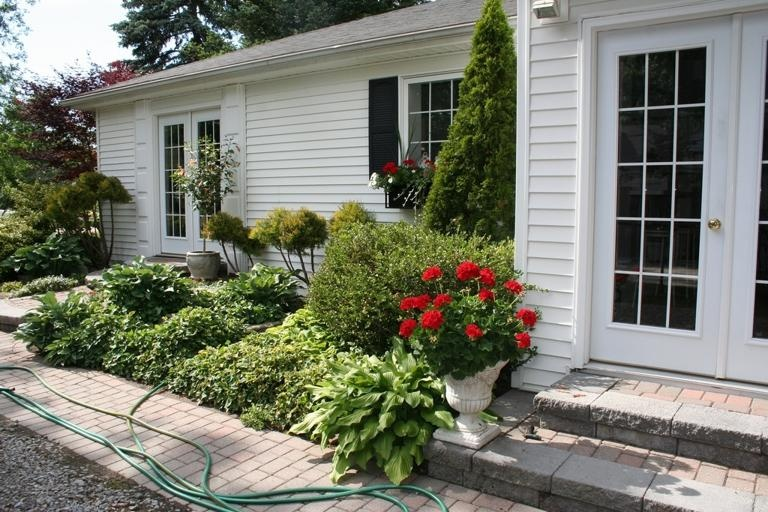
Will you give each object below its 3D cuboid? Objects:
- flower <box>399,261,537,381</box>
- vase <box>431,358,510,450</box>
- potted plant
[{"bbox_3d":[0.723,0.532,4.522,1.107,0.823,1.075,10,-4,15],"label":"flower"},{"bbox_3d":[0.651,1.186,4.553,0.641,0.627,0.680,-1,-1,33],"label":"vase"},{"bbox_3d":[-3.108,-0.844,9.458,0.929,2.424,1.439,-4,7,-35],"label":"potted plant"}]
